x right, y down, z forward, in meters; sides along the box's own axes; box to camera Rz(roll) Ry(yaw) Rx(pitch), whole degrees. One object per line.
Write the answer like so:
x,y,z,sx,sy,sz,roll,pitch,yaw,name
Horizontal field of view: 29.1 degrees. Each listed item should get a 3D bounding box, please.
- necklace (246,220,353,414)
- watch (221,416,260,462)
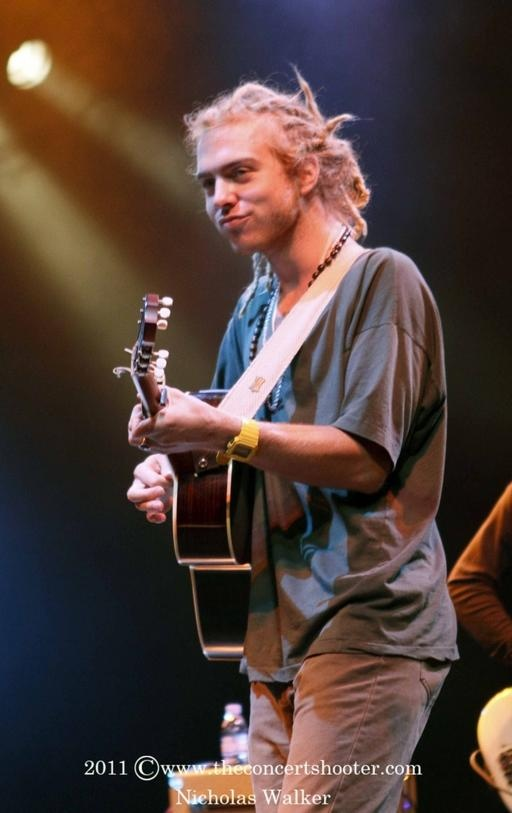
0.101,-0.257,2.874,0.075,0.608,0.203,12,10,-9,necklace
-0.026,0.085,2.232,0.073,0.092,0.099,23,-13,-2,watch
